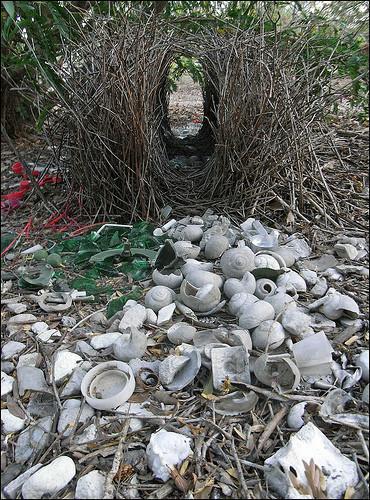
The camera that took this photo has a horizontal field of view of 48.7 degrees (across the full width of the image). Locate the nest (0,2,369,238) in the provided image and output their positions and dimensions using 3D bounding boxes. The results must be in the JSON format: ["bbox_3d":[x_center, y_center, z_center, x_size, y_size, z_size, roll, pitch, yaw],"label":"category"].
[{"bbox_3d":[-0.101,-1.115,3.986,2.626,1.338,2.681,4,36,-9],"label":"nest"}]
